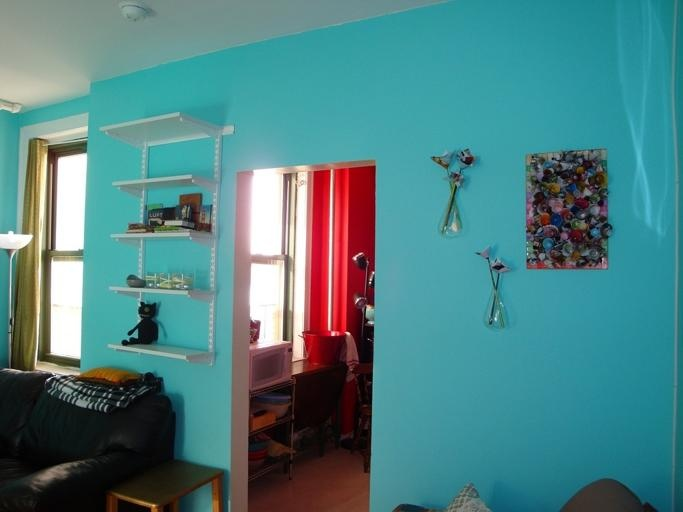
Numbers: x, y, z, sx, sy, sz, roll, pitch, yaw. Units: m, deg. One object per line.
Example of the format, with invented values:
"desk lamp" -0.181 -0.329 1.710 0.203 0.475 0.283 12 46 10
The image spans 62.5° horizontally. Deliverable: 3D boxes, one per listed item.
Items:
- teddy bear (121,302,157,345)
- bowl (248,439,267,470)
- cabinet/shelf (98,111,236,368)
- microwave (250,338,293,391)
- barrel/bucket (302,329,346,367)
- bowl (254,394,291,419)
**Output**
"teddy bear" -1.364 0.449 3.746 0.212 0.283 0.193 4 -2 -3
"bowl" -0.583 1.373 3.900 0.147 0.118 0.154 0 -9 0
"cabinet/shelf" -1.123 -0.079 3.570 0.859 1.534 0.400 -3 -5 26
"microwave" -0.510 0.778 3.942 0.243 0.296 0.437 -1 -2 24
"barrel/bucket" -0.152 0.782 4.739 0.319 0.270 0.348 0 -5 0
"bowl" -0.507 1.073 4.003 0.207 0.108 0.247 2 -7 -6
